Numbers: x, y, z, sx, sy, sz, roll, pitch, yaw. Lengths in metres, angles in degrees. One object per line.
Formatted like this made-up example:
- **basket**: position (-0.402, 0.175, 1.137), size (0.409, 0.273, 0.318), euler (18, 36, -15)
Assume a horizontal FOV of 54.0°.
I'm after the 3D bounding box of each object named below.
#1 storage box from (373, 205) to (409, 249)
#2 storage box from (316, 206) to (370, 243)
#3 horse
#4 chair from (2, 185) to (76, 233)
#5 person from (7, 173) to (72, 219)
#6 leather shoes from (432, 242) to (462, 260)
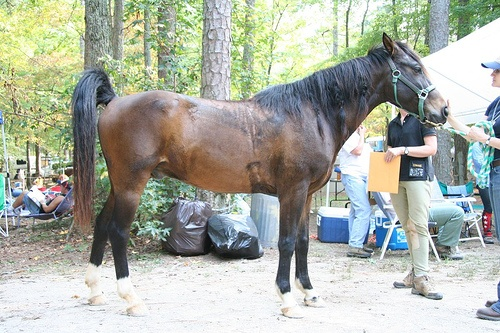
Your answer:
- **storage box**: position (3.150, 1.532, 11.339), size (0.875, 0.934, 0.850), euler (-15, -18, 31)
- **storage box**: position (2.077, 1.485, 11.995), size (0.977, 0.666, 0.933), euler (1, 2, 2)
- **horse**: position (0.158, 0.337, 8.944), size (6.772, 4.776, 1.607), euler (1, -8, -5)
- **chair**: position (-5.467, 1.065, 12.824), size (2.361, 1.300, 1.102), euler (7, 9, 37)
- **person**: position (-5.527, 0.835, 13.044), size (2.287, 1.232, 0.995), euler (5, 6, 15)
- **leather shoes**: position (4.232, 1.821, 10.387), size (0.689, 0.276, 0.228), euler (0, 0, 13)
